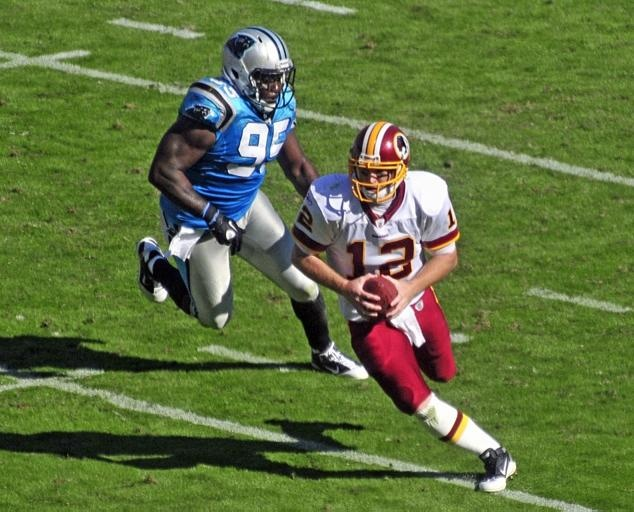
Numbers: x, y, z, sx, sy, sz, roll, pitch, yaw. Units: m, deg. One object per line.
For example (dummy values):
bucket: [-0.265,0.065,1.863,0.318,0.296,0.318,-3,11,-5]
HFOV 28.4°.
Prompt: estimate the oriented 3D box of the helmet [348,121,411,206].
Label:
helmet: [0.495,-0.746,9.560,0.485,0.532,0.652,5,23,12]

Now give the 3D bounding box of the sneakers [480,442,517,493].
sneakers: [1.376,1.614,9.723,0.157,0.291,0.452,-12,16,41]
